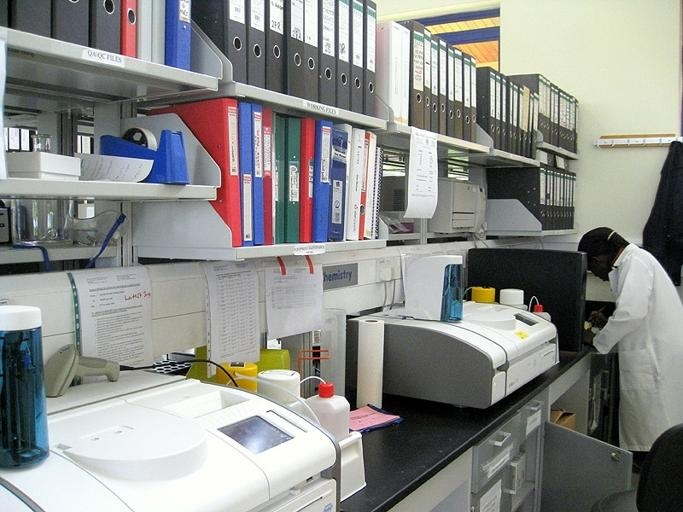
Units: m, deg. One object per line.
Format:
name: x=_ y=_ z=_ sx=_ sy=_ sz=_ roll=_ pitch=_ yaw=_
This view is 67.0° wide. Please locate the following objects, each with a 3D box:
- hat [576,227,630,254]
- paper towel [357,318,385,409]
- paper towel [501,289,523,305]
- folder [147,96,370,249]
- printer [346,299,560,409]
hat: x=1.521 y=-0.082 z=3.030 sx=0.249 sy=0.128 sz=0.196 roll=2 pitch=2 yaw=21
paper towel: x=0.107 y=0.399 z=1.952 sx=0.101 sy=0.320 sz=0.114 roll=-1 pitch=7 yaw=4
paper towel: x=0.871 y=0.202 z=2.666 sx=0.082 sy=0.062 sz=0.085 roll=3 pitch=3 yaw=29
folder: x=-0.289 y=-0.292 z=1.718 sx=0.376 sy=0.454 sz=0.625 roll=10 pitch=13 yaw=31
printer: x=0.477 y=0.302 z=2.228 sx=0.661 sy=0.379 sz=0.762 roll=6 pitch=6 yaw=32
